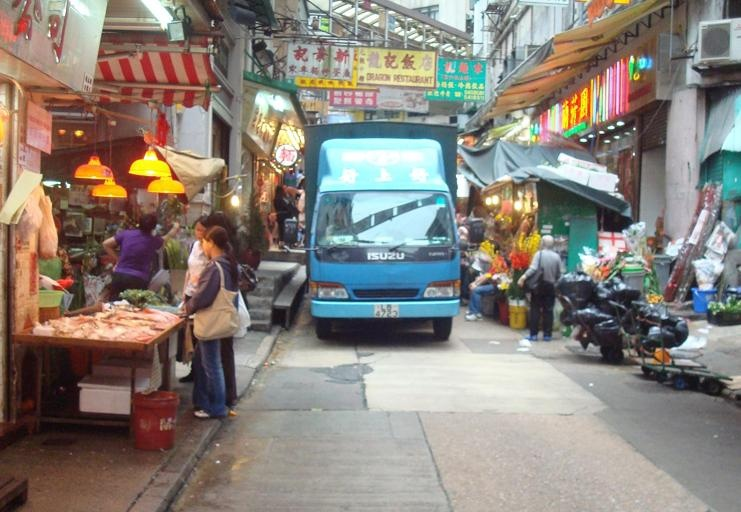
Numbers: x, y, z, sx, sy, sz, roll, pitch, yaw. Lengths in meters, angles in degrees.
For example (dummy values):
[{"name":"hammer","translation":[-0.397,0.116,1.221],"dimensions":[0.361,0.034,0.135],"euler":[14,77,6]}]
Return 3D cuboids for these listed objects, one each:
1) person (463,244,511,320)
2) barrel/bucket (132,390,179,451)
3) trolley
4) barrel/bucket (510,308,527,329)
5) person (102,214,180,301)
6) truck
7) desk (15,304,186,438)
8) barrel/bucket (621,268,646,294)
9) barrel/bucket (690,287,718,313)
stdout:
[{"name":"person","translation":[2.633,0.696,14.722],"dimensions":[1.032,1.485,0.894],"euler":[5,9,27]},{"name":"barrel/bucket","translation":[-2.251,1.714,7.048],"dimensions":[0.553,0.519,0.511],"euler":[0,-3,0]},{"name":"trolley","translation":[4.311,1.360,10.026],"dimensions":[1.144,0.796,2.023],"euler":[0,11,-16]},{"name":"barrel/bucket","translation":[3.169,1.307,14.115],"dimensions":[0.380,0.442,0.392],"euler":[0,0,0]},{"name":"person","translation":[-3.540,0.010,9.943],"dimensions":[0.775,1.312,0.478],"euler":[-2,8,-21]},{"name":"truck","translation":[0.241,-0.523,12.632],"dimensions":[2.896,4.155,2.170],"euler":[0,8,-3]},{"name":"desk","translation":[-3.047,1.222,7.472],"dimensions":[1.565,1.229,1.168],"euler":[1,8,3]},{"name":"barrel/bucket","translation":[4.815,0.420,12.098],"dimensions":[0.491,0.527,0.496],"euler":[-1,-1,0]},{"name":"barrel/bucket","translation":[7.223,0.960,14.412],"dimensions":[0.509,0.477,0.551],"euler":[2,-6,0]}]
